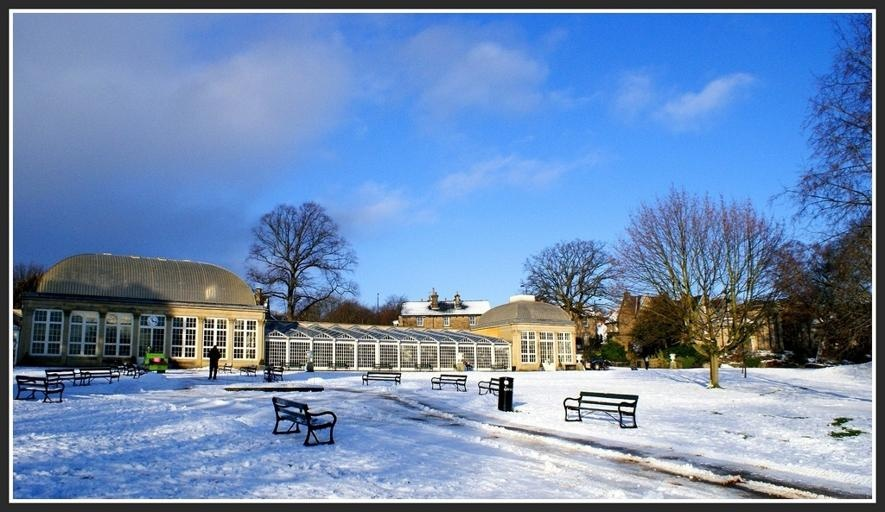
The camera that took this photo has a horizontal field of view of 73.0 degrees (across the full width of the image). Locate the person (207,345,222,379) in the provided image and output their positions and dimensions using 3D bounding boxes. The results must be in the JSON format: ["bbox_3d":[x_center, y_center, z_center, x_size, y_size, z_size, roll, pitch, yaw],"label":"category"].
[{"bbox_3d":[-13.402,6.189,34.854,0.437,1.951,1.366,3,-11,-22],"label":"person"}]

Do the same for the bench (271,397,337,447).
[{"bbox_3d":[-4.814,5.593,20.443,1.543,1.462,2.715,6,-13,-36],"label":"bench"}]

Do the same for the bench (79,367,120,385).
[{"bbox_3d":[-17.802,6.146,30.832,1.648,0.710,4.214,5,-12,-30],"label":"bench"}]
